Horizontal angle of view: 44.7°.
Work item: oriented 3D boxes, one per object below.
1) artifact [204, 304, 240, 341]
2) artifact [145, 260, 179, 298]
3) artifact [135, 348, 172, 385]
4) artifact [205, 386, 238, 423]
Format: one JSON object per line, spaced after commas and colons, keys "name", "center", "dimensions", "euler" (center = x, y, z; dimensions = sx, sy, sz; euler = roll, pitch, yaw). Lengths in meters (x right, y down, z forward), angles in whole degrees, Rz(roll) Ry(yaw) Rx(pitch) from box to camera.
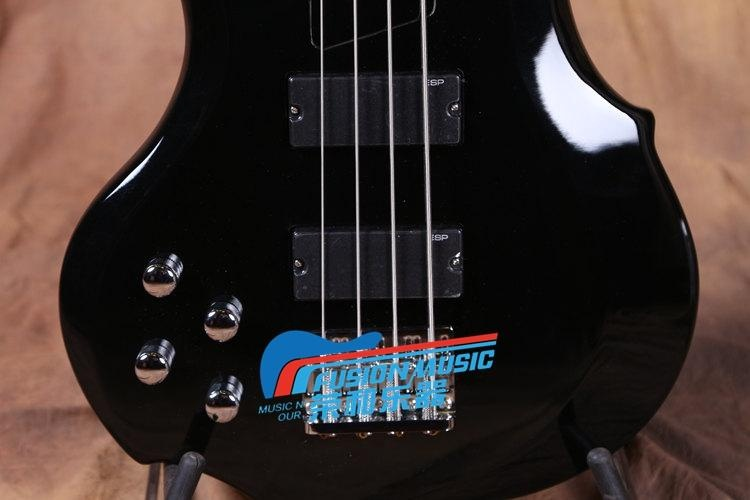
{"name": "artifact", "center": [-0.256, 0.122, 1.536], "dimensions": [0.050, 0.064, 0.062], "euler": [-3, 38, -9]}
{"name": "artifact", "center": [-0.355, 0.044, 1.537], "dimensions": [0.058, 0.057, 0.055], "euler": [3, 102, -2]}
{"name": "artifact", "center": [-0.376, 0.195, 1.532], "dimensions": [0.049, 0.062, 0.056], "euler": [5, 44, 2]}
{"name": "artifact", "center": [-0.261, 0.258, 1.547], "dimensions": [0.057, 0.031, 0.063], "euler": [0, 93, -5]}
